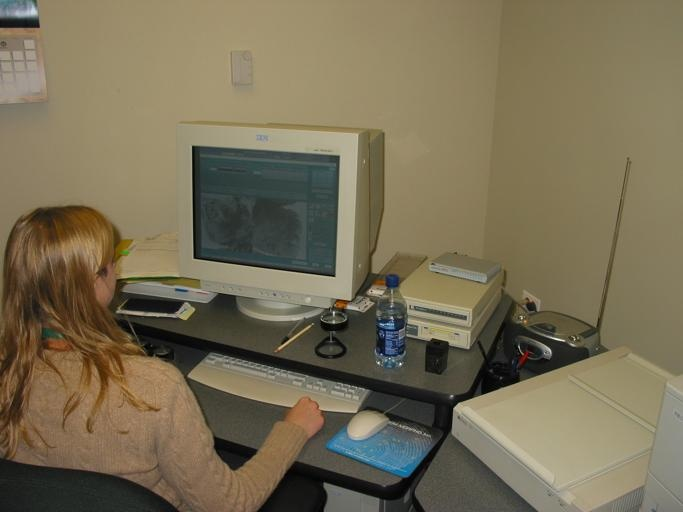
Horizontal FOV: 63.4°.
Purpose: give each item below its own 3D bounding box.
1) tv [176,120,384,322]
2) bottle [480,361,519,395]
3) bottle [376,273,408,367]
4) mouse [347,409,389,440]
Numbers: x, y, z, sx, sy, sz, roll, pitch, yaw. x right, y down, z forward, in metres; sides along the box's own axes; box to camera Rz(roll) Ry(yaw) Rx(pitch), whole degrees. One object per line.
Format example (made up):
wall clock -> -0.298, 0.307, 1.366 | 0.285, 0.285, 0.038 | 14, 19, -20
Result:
tv -> -0.201, -0.133, 1.935 | 0.614, 0.640, 0.474 | 4, 12, 13
bottle -> 0.459, 0.337, 1.568 | 0.073, 0.066, 0.102 | -2, 10, 3
bottle -> 0.155, 0.167, 1.650 | 0.094, 0.255, 0.240 | 4, 13, 6
mouse -> 0.069, 0.450, 1.482 | 0.062, 0.053, 0.121 | 16, 18, 43
